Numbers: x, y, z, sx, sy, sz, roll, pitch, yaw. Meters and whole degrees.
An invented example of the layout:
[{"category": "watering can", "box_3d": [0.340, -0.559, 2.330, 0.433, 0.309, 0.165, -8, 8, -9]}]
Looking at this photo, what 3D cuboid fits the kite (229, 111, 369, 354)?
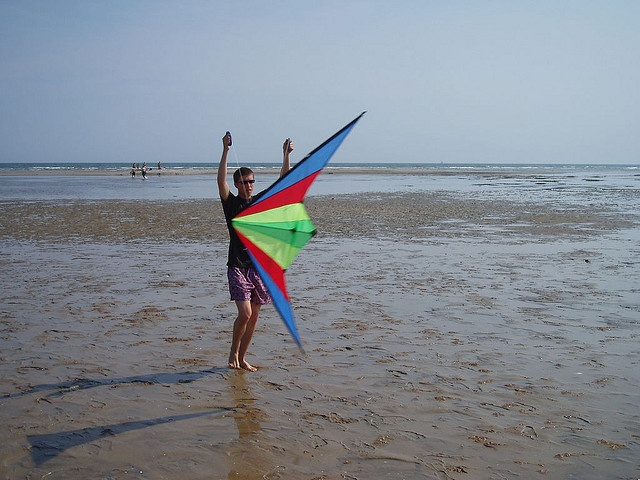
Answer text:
[{"category": "kite", "box_3d": [-0.291, 0.052, 6.352, 0.652, 2.556, 1.056, 14, 19, 41]}]
